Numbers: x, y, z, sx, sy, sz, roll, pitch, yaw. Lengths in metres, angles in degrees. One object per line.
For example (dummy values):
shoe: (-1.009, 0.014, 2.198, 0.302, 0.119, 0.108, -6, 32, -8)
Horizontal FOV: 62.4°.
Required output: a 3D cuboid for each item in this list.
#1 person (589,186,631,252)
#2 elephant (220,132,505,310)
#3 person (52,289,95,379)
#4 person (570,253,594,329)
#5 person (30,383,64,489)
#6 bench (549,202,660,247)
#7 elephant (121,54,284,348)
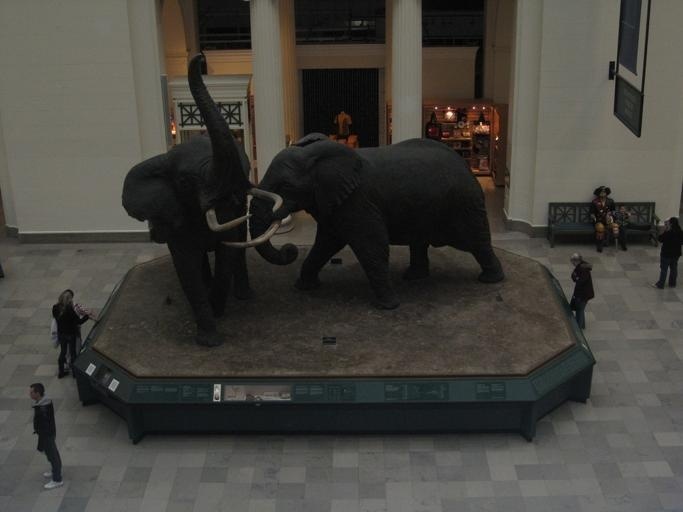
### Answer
person: (5.549, -0.787, 11.652, 0.659, 1.206, 0.736, 1, 20, 7)
elephant: (0.402, -0.597, 8.537, 4.022, 2.378, 1.427, -3, 15, -3)
person: (-4.021, 1.109, 8.351, 0.578, 1.274, 0.912, -8, 21, -17)
person: (3.801, 0.561, 8.949, 0.375, 1.308, 0.524, 7, 22, 24)
person: (-3.398, 2.010, 6.431, 0.272, 1.212, 0.436, -14, 23, -31)
bench: (5.537, -0.703, 12.097, 2.086, 0.974, 0.627, 1, 9, 22)
elephant: (-1.812, -0.643, 7.137, 1.691, 3.611, 0.916, 10, 23, 29)
